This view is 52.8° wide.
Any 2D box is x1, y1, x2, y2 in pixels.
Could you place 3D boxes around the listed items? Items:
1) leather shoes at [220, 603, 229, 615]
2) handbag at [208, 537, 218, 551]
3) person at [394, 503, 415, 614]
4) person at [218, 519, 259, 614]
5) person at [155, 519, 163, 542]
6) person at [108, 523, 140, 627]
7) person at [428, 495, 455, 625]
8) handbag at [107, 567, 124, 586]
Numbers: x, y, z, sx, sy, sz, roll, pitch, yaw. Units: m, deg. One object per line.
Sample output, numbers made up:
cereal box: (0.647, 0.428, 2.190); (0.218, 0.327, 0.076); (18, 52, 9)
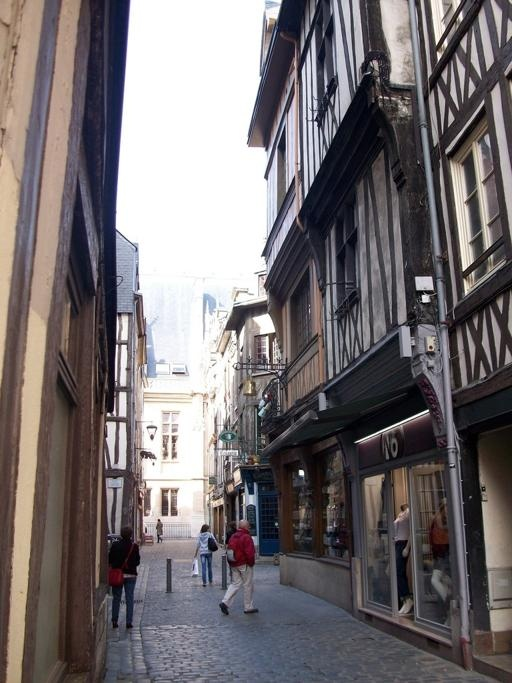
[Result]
leather shoes: (-0.646, 5.374, 10.422); (0.140, 0.307, 0.088); (-22, 13, -9)
handbag: (-1.295, 5.873, 15.044); (0.253, 0.364, 0.555); (0, -16, -5)
person: (2.375, 3.481, 8.301); (0.164, 1.694, 0.466); (4, -11, -24)
person: (-0.343, 4.601, 10.552); (0.695, 1.826, 0.714); (-1, -11, -2)
person: (-8.557, 16.716, 45.726); (0.391, 1.773, 2.801); (2, -17, -14)
person: (-2.530, 4.433, 9.792); (0.566, 1.759, 1.144); (2, -13, -13)
person: (2.429, 2.867, 6.776); (0.140, 1.500, 0.652); (-2, -11, 7)
handbag: (-2.578, 4.303, 9.456); (0.273, 0.316, 0.231); (4, -14, -22)
